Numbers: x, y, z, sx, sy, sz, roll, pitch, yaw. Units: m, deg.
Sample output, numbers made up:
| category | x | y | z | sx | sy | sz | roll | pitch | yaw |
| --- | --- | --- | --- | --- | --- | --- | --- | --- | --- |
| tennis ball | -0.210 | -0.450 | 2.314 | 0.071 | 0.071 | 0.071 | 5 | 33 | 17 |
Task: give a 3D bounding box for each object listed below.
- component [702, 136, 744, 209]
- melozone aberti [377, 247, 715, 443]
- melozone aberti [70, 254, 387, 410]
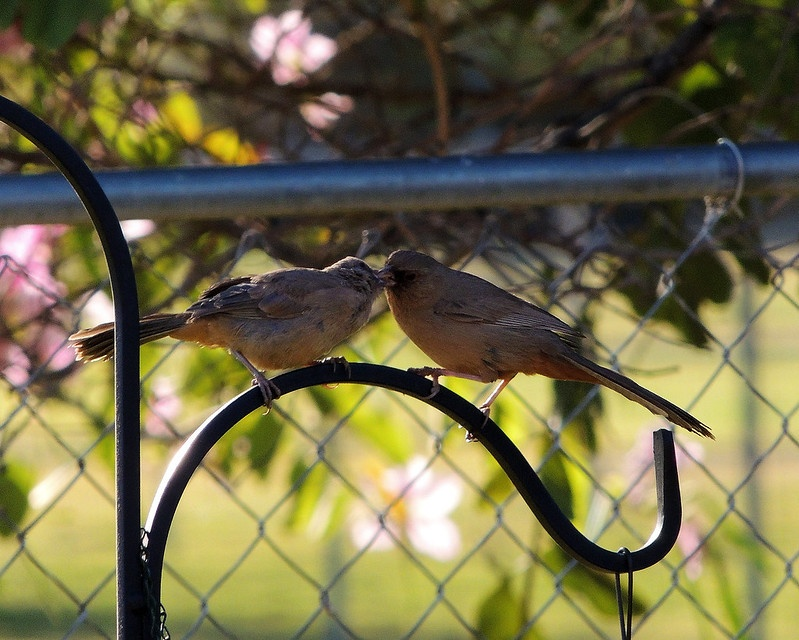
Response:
| category | x | y | z | sx | sy | sz | roll | pitch | yaw |
| --- | --- | --- | --- | --- | --- | --- | --- | --- | --- |
| component | 1.176 | -0.509 | 4.616 | 0.057 | 0.223 | 0.217 | -2 | -86 | -23 |
| melozone aberti | 0.248 | 0.127 | 5.328 | 1.882 | 0.827 | 0.499 | 1 | -25 | 19 |
| melozone aberti | -0.629 | 0.003 | 5.069 | 1.325 | 0.412 | 0.479 | 0 | -86 | -23 |
